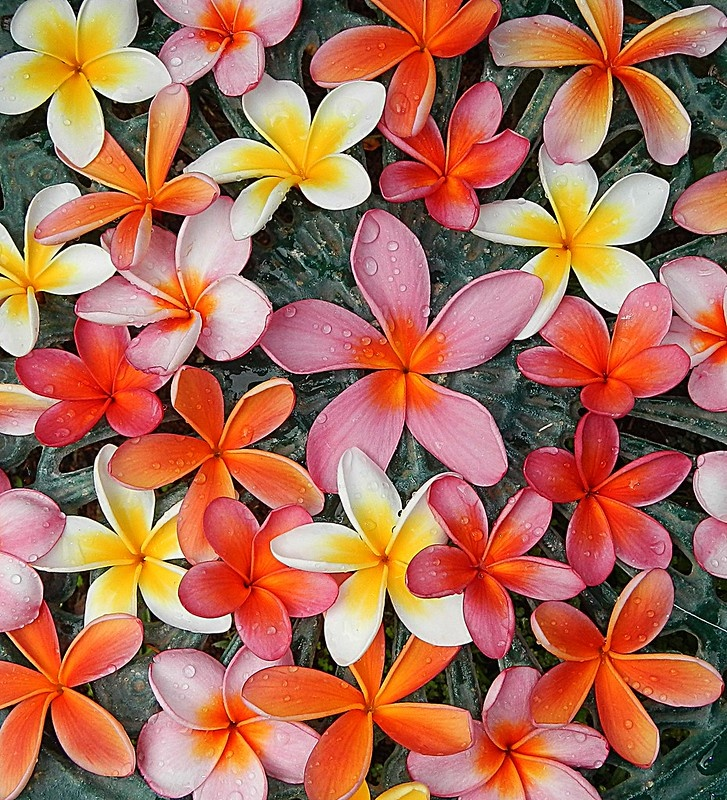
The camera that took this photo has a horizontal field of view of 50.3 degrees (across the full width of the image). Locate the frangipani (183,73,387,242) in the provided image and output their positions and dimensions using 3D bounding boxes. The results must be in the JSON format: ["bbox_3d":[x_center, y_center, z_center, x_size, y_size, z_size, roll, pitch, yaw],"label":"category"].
[{"bbox_3d":[-0.123,-0.358,1.158,0.280,0.134,0.270,9,87,1],"label":"frangipani"}]

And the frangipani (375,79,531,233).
[{"bbox_3d":[0.151,-0.352,1.228,0.214,0.110,0.240,31,85,12],"label":"frangipani"}]
